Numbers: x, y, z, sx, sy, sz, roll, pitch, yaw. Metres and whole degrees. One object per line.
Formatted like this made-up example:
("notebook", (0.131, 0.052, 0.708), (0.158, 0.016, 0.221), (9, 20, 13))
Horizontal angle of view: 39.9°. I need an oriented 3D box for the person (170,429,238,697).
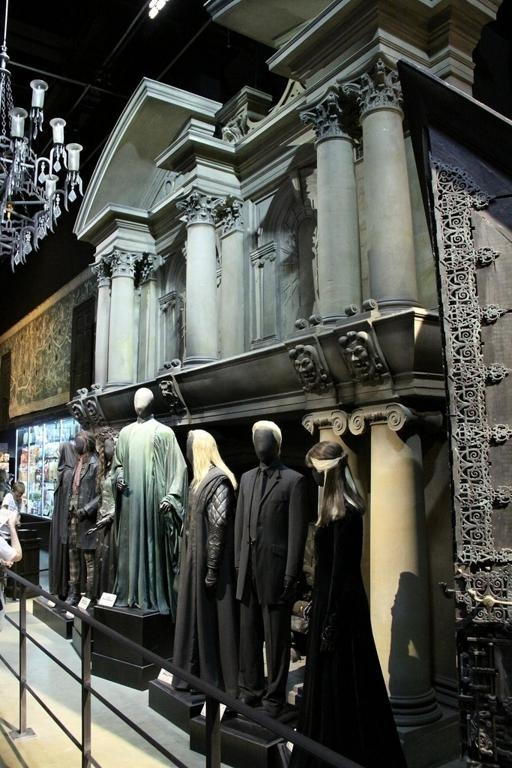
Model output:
("person", (-0.235, 0.942, 3.892), (0.553, 1.378, 0.258), (-7, -11, 40))
